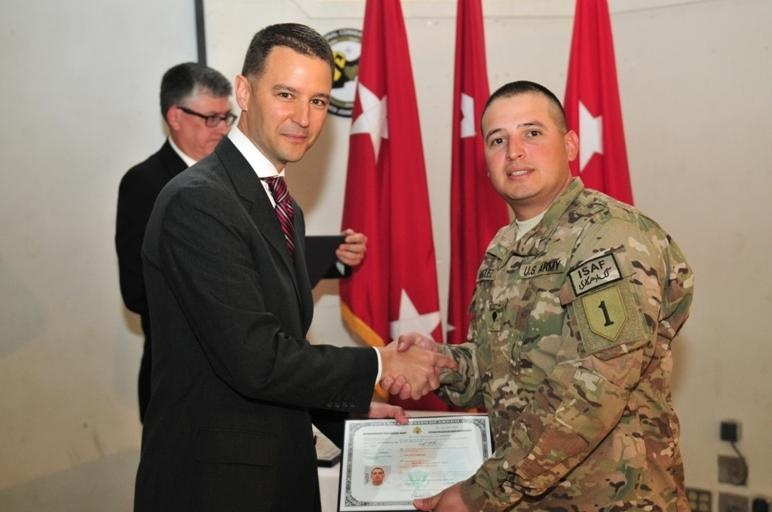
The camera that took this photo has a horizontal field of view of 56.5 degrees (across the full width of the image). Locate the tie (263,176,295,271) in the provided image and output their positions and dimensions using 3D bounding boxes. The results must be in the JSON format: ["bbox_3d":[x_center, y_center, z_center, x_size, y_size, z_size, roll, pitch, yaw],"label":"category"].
[{"bbox_3d":[-0.509,-0.197,3.630,0.075,0.348,0.251,-5,6,25],"label":"tie"}]
